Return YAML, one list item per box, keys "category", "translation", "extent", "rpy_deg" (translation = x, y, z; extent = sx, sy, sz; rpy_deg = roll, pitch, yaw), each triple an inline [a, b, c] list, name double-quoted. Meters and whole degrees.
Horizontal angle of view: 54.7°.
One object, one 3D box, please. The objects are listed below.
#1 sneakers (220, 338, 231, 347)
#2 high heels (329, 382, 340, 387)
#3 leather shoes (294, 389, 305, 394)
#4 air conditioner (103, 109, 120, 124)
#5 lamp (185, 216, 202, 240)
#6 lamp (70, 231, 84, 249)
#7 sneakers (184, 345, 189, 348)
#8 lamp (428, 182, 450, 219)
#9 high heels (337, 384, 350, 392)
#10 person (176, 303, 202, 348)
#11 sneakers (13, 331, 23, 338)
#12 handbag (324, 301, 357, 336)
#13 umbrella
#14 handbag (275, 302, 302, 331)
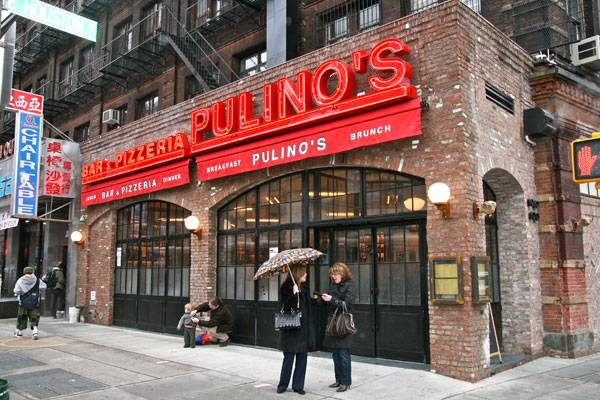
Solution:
- category: "sneakers"
  translation: [-2.413, 4.531, 18.452]
  extent: [0.236, 0.179, 0.503]
  rpy_deg: [0, 0, 33]
- category: "high heels"
  translation: [0.838, 4.589, 14.413]
  extent: [0.297, 0.122, 0.101]
  rpy_deg: [-1, -14, 13]
- category: "leather shoes"
  translation: [-0.039, 4.636, 14.029]
  extent: [0.255, 0.109, 0.099]
  rpy_deg: [-9, -13, 35]
- category: "air conditioner"
  translation: [-9.243, -4.050, 28.242]
  extent: [0.659, 0.469, 0.366]
  rpy_deg: [-13, -18, 41]
- category: "lamp"
  translation: [-3.626, 0.922, 19.457]
  extent: [0.471, 0.772, 0.567]
  rpy_deg: [0, 0, 26]
- category: "lamp"
  translation: [-9.331, 1.605, 24.082]
  extent: [0.491, 0.661, 0.638]
  rpy_deg: [0, 0, -28]
- category: "sneakers"
  translation: [-3.621, 4.596, 18.183]
  extent: [0.057, 0.061, 0.155]
  rpy_deg: [4, -3, -41]
- category: "lamp"
  translation: [3.664, 0.068, 15.108]
  extent: [0.543, 0.830, 0.443]
  rpy_deg: [20, -29, -24]
- category: "high heels"
  translation: [1.058, 4.608, 14.196]
  extent: [0.358, 0.140, 0.130]
  rpy_deg: [13, -20, -29]
- category: "person"
  translation: [-3.631, 3.945, 18.505]
  extent: [0.545, 1.311, 1.489]
  rpy_deg: [0, 0, -12]
- category: "sneakers"
  translation: [-9.545, 4.492, 19.485]
  extent: [0.162, 0.218, 0.482]
  rpy_deg: [5, -2, -40]
- category: "handbag"
  translation: [0.980, 2.912, 14.128]
  extent: [0.674, 0.838, 0.300]
  rpy_deg: [0, 0, 5]
- category: "umbrella"
  translation: [-0.402, 1.556, 14.004]
  extent: [1.154, 0.726, 1.143]
  rpy_deg: [-20, -12, -26]
- category: "handbag"
  translation: [-0.268, 2.810, 13.934]
  extent: [0.693, 0.746, 0.290]
  rpy_deg: [-1, -24, 3]
